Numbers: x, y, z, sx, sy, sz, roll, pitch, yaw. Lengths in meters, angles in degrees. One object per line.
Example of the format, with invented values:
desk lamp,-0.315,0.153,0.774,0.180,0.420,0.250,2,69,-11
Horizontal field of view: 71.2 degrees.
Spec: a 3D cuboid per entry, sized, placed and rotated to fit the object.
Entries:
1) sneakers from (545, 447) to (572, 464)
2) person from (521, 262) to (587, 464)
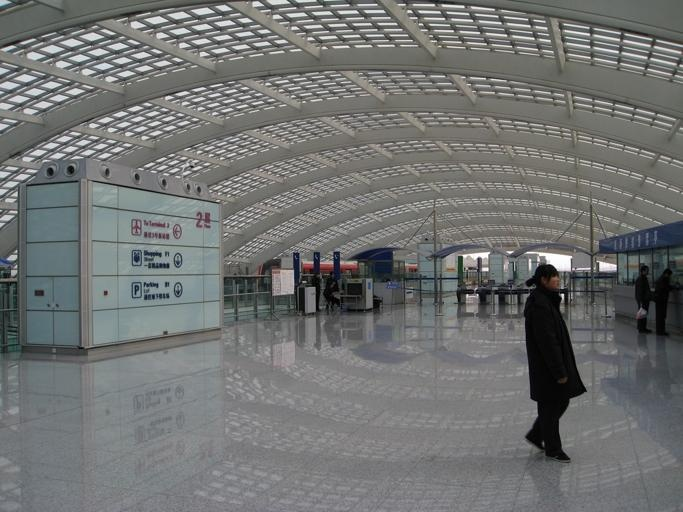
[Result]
sneakers,2.631,2.358,5.705,0.318,0.090,0.204,-2,-2,-3
person,2.617,1.260,5.860,0.585,2.323,0.398,-4,-3,13
